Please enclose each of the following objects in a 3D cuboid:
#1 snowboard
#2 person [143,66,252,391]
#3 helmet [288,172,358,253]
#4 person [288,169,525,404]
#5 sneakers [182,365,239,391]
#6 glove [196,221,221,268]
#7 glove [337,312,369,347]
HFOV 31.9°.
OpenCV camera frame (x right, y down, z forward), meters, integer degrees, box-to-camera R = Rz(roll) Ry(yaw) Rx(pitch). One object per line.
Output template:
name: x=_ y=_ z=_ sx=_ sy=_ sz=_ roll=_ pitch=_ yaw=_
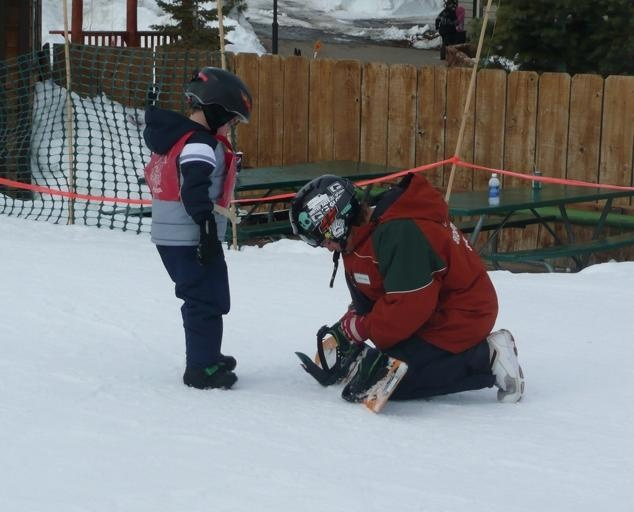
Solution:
snowboard: x=0.246 y=0.669 z=6.660 sx=0.518 sy=0.345 sz=0.176 roll=38 pitch=13 yaw=-6
person: x=-0.764 y=-0.189 z=6.909 sx=0.638 sy=1.936 sz=0.558 roll=2 pitch=11 yaw=-9
helmet: x=0.019 y=-0.273 z=6.944 sx=0.390 sy=0.456 sz=0.334 roll=28 pitch=-1 yaw=-4
person: x=0.578 y=0.195 z=7.094 sx=1.502 sy=1.426 sz=1.129 roll=-5 pitch=5 yaw=-17
sneakers: x=-0.663 y=0.760 z=6.869 sx=0.275 sy=0.191 sz=0.148 roll=-4 pitch=-1 yaw=-6
glove: x=-0.653 y=-0.079 z=6.751 sx=0.141 sy=0.243 sz=0.083 roll=-2 pitch=8 yaw=-13
glove: x=0.228 y=0.452 z=6.924 sx=0.083 sy=0.210 sz=0.122 roll=9 pitch=-35 yaw=-44
